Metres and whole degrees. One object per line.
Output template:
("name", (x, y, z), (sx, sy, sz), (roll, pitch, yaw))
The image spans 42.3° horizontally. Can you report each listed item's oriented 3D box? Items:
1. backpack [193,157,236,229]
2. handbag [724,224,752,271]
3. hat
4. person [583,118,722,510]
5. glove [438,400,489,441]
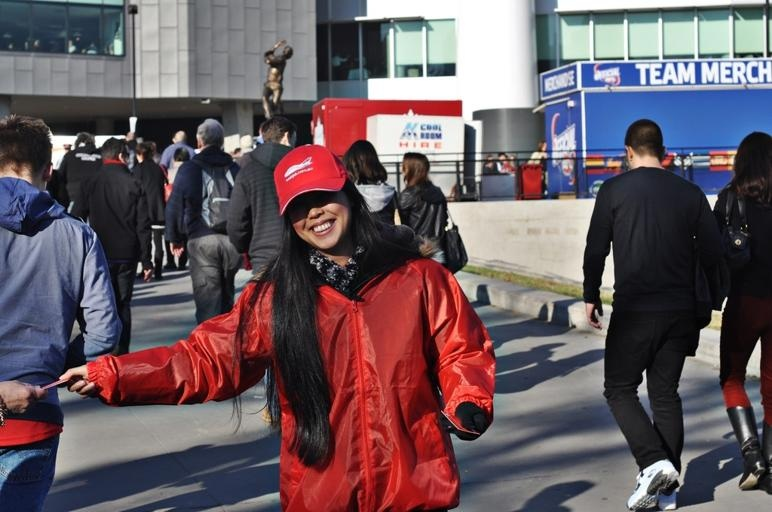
("backpack", (-1.789, -0.634, 10.218), (0.507, 0.906, 0.406), (6, -13, -32))
("handbag", (2.959, -0.077, 8.377), (0.214, 0.343, 0.314), (0, 3, -23))
("hat", (-0.483, -0.492, 6.238), (0.319, 0.298, 0.477), (-21, 2, 13))
("person", (2.164, 0.456, 8.228), (1.090, 3.071, 1.051), (3, 10, 19))
("glove", (0.489, 1.022, 6.095), (0.313, 0.271, 0.191), (1, 10, 5))
